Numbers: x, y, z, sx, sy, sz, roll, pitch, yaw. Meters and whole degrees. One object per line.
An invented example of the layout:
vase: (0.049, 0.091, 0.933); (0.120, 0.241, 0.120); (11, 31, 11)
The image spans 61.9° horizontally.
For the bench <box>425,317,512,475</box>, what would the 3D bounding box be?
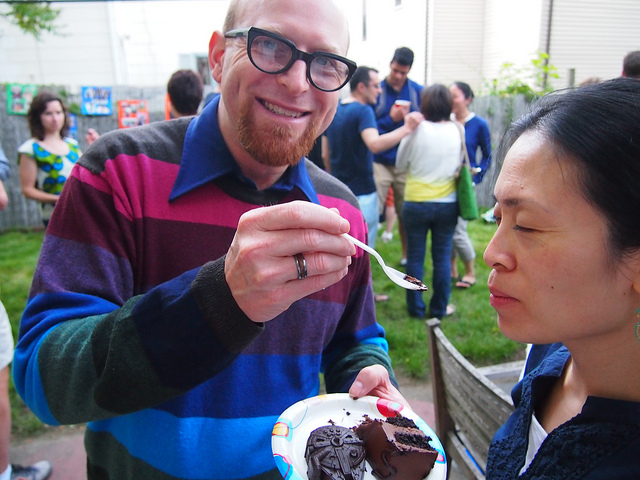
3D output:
bench: (0.802, 0.944, 3.013); (0.383, 1.070, 0.391); (-4, 11, -22)

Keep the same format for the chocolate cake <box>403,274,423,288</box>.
chocolate cake: (0.393, 0.167, 2.261); (0.079, 0.069, 0.186); (1, 13, 10)

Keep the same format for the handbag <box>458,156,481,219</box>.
handbag: (1.638, -0.567, 5.912); (0.214, 0.642, 0.368); (2, 12, 14)

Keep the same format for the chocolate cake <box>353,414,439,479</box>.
chocolate cake: (0.318, 0.921, 2.318); (0.385, 0.201, 0.208); (2, 13, 13)

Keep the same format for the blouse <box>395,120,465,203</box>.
blouse: (1.203, -0.855, 5.873); (0.675, 0.869, 0.347); (1, 12, 10)
